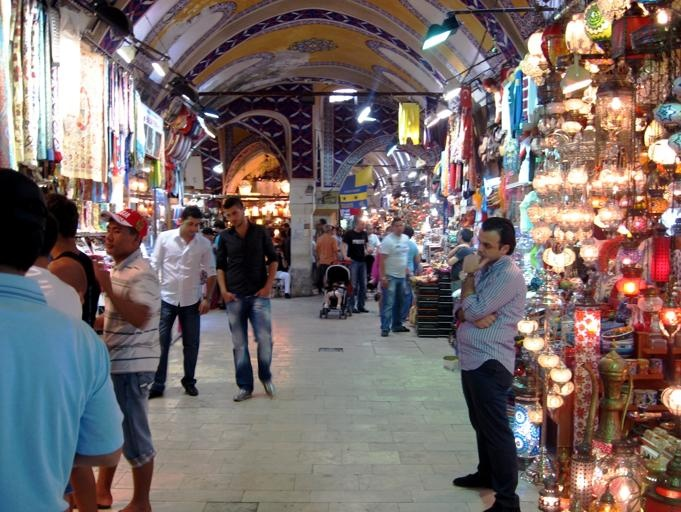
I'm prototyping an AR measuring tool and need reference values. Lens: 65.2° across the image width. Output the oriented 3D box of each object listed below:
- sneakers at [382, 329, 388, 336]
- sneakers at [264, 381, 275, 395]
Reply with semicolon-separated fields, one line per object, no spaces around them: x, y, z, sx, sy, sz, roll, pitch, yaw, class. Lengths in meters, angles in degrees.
0.741;1.297;9.018;0.092;0.060;0.146;1;-11;-1;sneakers
-0.773;1.410;5.716;0.074;0.189;0.084;-6;-10;-9;sneakers
